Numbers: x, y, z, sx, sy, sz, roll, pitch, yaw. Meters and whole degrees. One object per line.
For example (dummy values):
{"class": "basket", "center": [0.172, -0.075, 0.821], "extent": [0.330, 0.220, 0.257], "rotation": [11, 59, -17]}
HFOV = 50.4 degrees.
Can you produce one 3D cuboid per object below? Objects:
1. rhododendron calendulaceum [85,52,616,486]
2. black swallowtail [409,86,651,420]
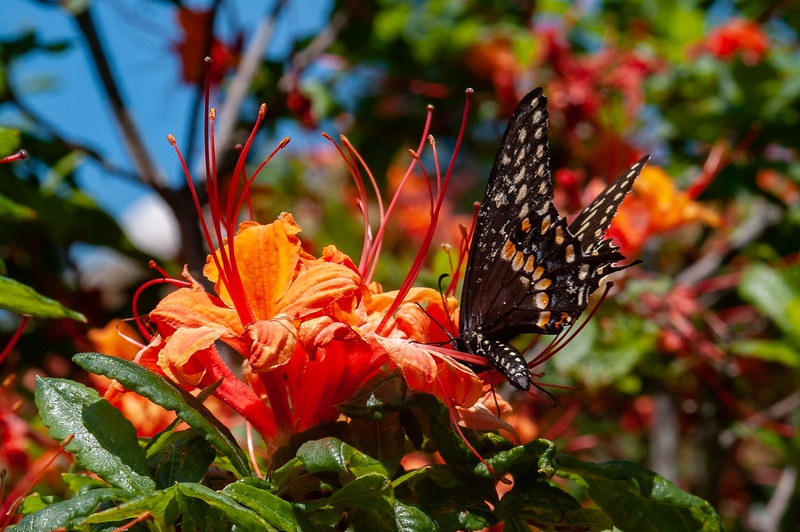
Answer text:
{"class": "rhododendron calendulaceum", "center": [-0.122, 0.134, 2.900], "extent": [1.324, 1.170, 1.334], "rotation": [13, -7, 2]}
{"class": "black swallowtail", "center": [0.374, -0.032, 2.640], "extent": [0.491, 1.155, 0.863], "rotation": [2, 4, 0]}
